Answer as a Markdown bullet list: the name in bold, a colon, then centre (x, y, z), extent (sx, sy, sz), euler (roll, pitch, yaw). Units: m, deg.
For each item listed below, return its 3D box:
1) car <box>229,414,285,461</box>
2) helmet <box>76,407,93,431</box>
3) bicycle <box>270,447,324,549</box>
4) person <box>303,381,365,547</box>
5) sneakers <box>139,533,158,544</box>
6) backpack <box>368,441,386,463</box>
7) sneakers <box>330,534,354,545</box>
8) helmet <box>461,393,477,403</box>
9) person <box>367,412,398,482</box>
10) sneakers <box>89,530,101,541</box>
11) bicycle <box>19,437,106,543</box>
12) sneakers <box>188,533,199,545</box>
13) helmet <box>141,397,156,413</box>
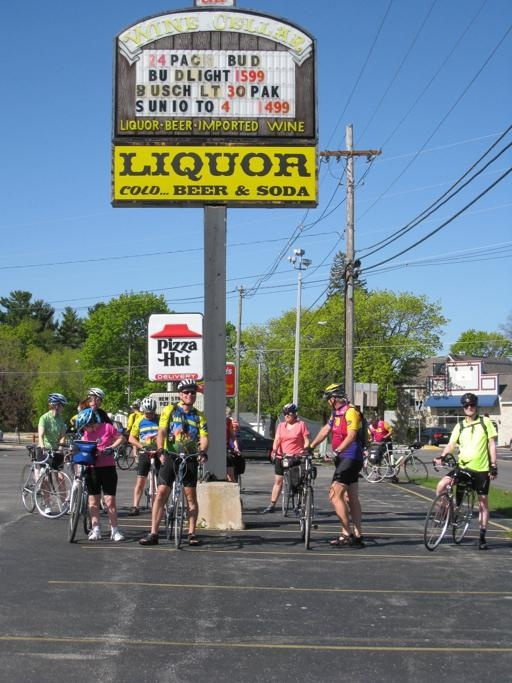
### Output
- **car**: centre (-0.114, 3.482, 33.736), extent (2.529, 1.263, 1.411), euler (-2, -2, -1)
- **helmet**: centre (-1.966, 0.925, 11.148), extent (0.185, 0.276, 0.089), euler (14, -18, 35)
- **bicycle**: centre (0.528, 1.782, 12.020), extent (0.531, 0.669, 1.114), euler (4, -7, -8)
- **person**: centre (0.948, 1.419, 11.180), extent (0.585, 1.817, 1.211), euler (1, -3, 5)
- **sneakers**: centre (-1.174, 2.157, 10.557), extent (0.259, 0.117, 0.189), euler (3, -3, -29)
- **backpack**: centre (2.844, 2.690, 22.965), extent (0.425, 0.504, 0.339), euler (1, -3, 3)
- **sneakers**: centre (0.952, 2.236, 10.923), extent (0.263, 0.138, 0.116), euler (1, -3, 3)
- **helmet**: centre (2.441, 0.674, 11.162), extent (0.132, 0.105, 0.210), euler (-2, -16, 13)
- **person**: centre (3.020, 2.493, 23.463), extent (0.501, 1.489, 0.487), euler (-11, 10, 19)
- **sneakers**: centre (-1.824, 2.159, 10.817), extent (0.078, 0.087, 0.200), euler (1, -14, -5)
- **bicycle**: centre (-2.268, 1.803, 12.223), extent (0.935, 1.234, 1.896), euler (7, -9, -31)
- **sneakers**: centre (-0.708, 2.165, 10.594), extent (0.090, 0.111, 0.276), euler (0, -17, -4)
- **helmet**: centre (-1.543, 0.917, 13.762), extent (0.180, 0.222, 0.231), euler (2, 12, -6)
